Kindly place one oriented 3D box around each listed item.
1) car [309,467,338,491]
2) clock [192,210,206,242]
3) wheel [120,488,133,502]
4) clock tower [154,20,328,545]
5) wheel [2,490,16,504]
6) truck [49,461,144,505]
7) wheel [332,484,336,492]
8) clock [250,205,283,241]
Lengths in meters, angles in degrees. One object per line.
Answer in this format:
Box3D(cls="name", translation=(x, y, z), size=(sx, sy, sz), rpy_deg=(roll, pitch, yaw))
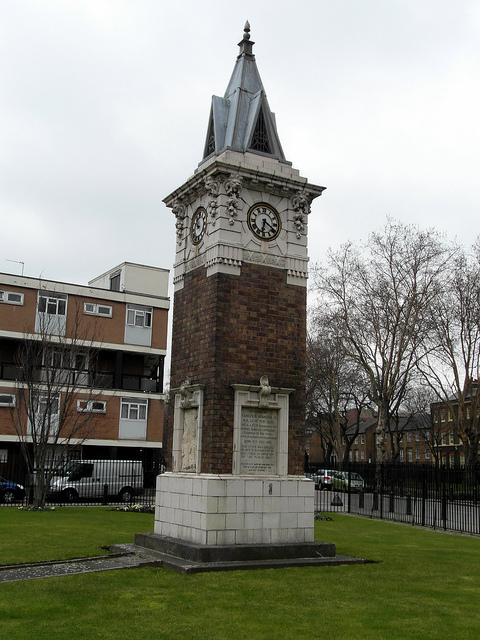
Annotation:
Box3D(cls="car", translation=(4.512, 8.554, 38.552), size=(1.067, 1.052, 3.712), rpy_deg=(0, -11, 7))
Box3D(cls="clock", translation=(-0.904, -2.085, 15.974), size=(0.030, 0.701, 0.625), rpy_deg=(4, -13, -18))
Box3D(cls="wheel", translation=(-5.322, 8.192, 33.583), size=(0.418, 0.509, 0.457), rpy_deg=(2, -19, 1))
Box3D(cls="clock tower", translation=(0.109, -0.679, 15.837), size=(3.396, 11.054, 3.718), rpy_deg=(-2, -14, 17))
Box3D(cls="wheel", translation=(-9.874, 7.506, 30.695), size=(0.533, 0.473, 1.283), rpy_deg=(4, -11, -16))
Box3D(cls="truck", translation=(-6.639, 7.459, 33.906), size=(3.711, 1.904, 1.962), rpy_deg=(9, -17, -24))
Box3D(cls="wheel", translation=(4.817, 8.672, 36.915), size=(0.150, 0.295, 0.540), rpy_deg=(-1, -11, 10))
Box3D(cls="clock", translation=(0.528, -2.091, 15.541), size=(0.655, 0.768, 0.058), rpy_deg=(11, -22, -42))
